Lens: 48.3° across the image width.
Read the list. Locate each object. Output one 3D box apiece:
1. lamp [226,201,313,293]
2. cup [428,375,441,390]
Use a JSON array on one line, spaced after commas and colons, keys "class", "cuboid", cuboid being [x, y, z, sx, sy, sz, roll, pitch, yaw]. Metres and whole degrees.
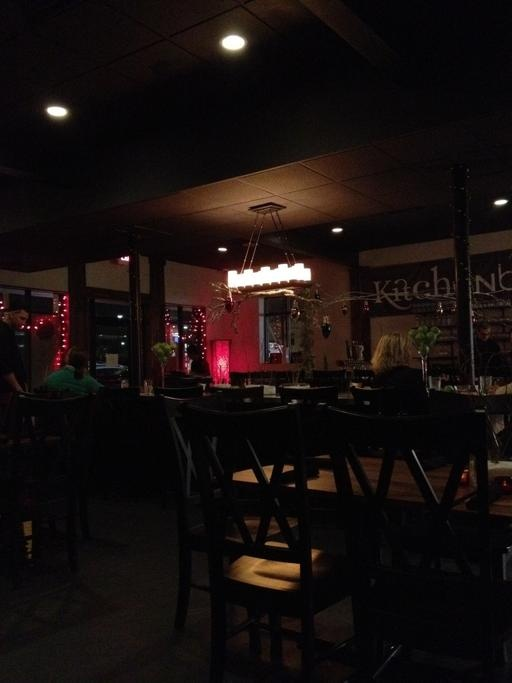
[{"class": "lamp", "cuboid": [0.181, -1.159, 6.836, 1.084, 1.087, 0.408, -5, -8, 32]}, {"class": "cup", "cuboid": [0.968, 0.223, 3.098, 0.057, 0.080, 0.058, 0, -8, 0]}]
